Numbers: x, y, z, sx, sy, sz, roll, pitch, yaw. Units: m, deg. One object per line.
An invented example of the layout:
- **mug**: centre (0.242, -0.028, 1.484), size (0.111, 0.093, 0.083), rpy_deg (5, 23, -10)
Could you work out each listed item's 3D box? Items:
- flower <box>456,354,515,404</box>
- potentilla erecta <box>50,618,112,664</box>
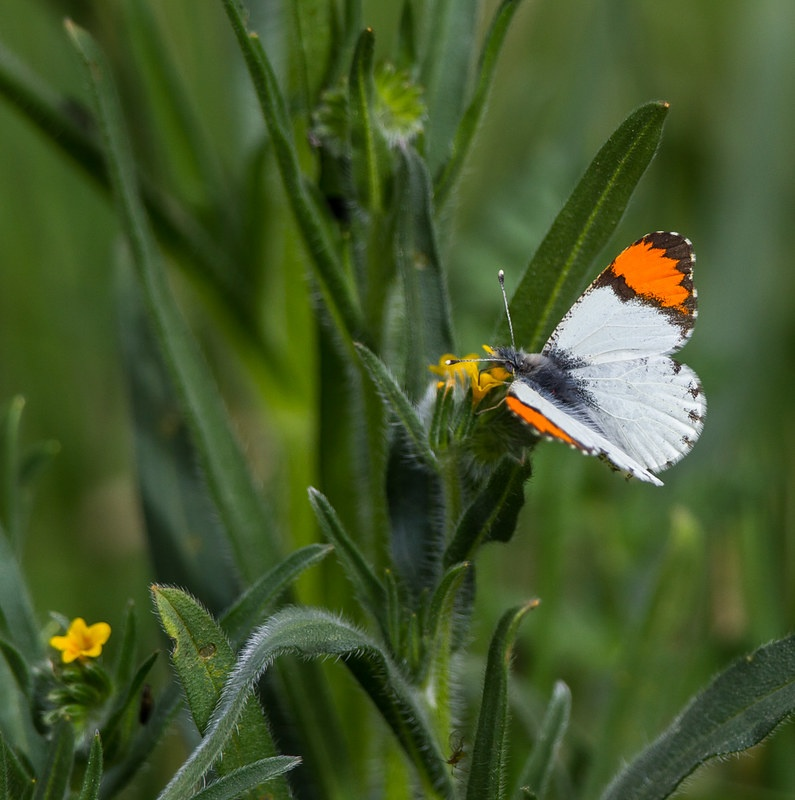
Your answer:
- **flower**: centre (0.065, -0.017, 1.110), size (0.043, 0.039, 0.077), rpy_deg (-11, -7, 24)
- **potentilla erecta**: centre (-0.262, 0.197, 1.106), size (0.050, 0.034, 0.038), rpy_deg (-9, -6, -7)
